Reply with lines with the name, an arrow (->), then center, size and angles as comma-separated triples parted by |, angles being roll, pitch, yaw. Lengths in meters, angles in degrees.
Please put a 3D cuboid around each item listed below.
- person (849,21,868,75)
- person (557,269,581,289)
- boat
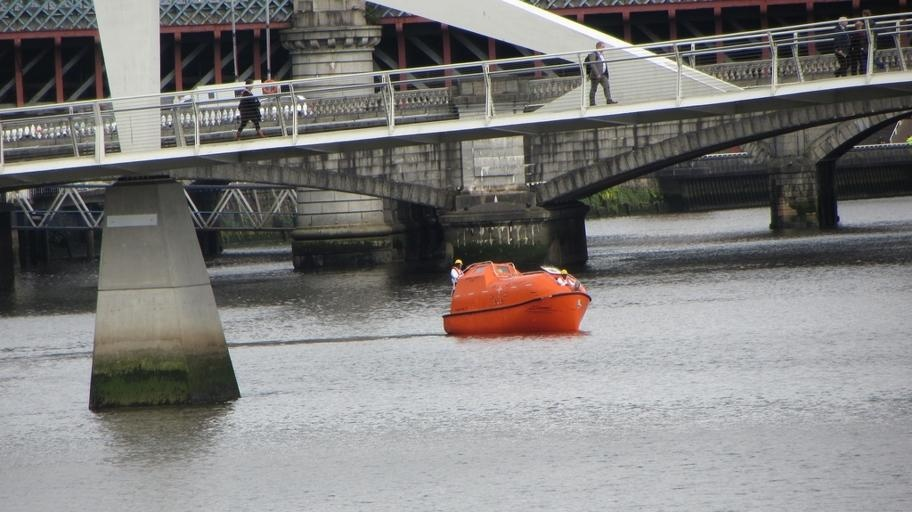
person -> 14.429, -7.140, 80.582 | 0.565, 1.539, 1.164 | -4, 9, 2
person -> 4.055, 0.829, 80.369 | 0.683, 0.682, 0.965 | -9, 10, -29
boat -> 2.378, 1.587, 81.061 | 4.996, 1.995, 2.423 | -3, -3, 25
